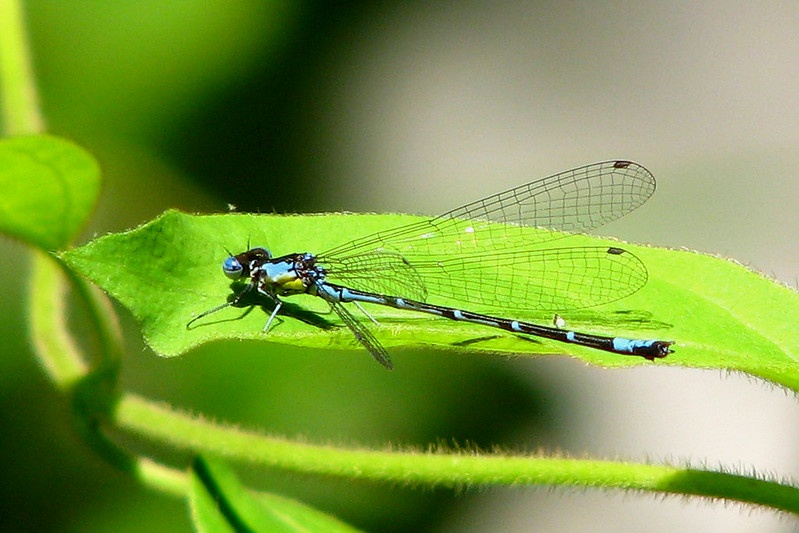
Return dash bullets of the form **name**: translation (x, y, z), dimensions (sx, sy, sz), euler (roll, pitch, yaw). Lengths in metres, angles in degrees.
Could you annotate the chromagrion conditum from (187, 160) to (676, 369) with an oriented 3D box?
- **chromagrion conditum**: translation (0.429, -0.002, 5.053), dimensions (2.348, 2.153, 0.670), euler (0, -66, 12)
